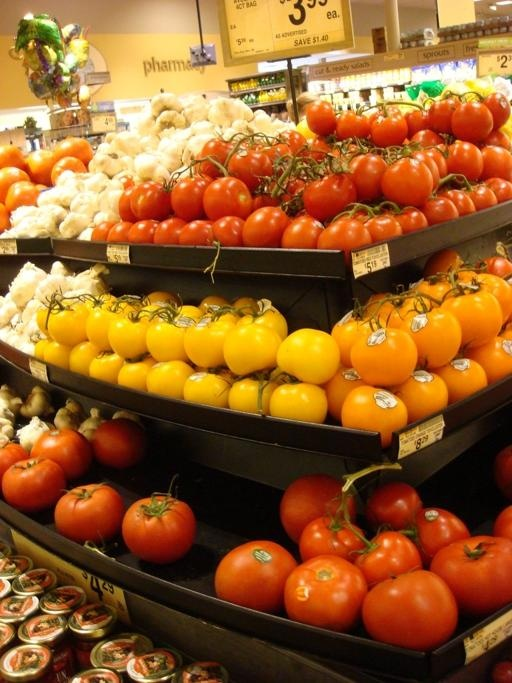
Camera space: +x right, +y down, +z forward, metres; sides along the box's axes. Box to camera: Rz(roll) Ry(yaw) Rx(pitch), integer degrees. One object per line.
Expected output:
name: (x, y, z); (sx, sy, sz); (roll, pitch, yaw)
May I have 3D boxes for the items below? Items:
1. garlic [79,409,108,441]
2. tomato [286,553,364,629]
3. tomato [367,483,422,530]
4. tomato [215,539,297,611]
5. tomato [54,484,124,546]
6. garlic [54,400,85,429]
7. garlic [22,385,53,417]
garlic: (-0.606, 0.301, 1.769); (0.095, 0.121, 0.092); (1, -8, 33)
tomato: (0.107, 0.384, 0.790); (0.107, 0.093, 0.103); (-3, 8, 5)
tomato: (0.281, 0.331, 0.998); (0.123, 0.089, 0.100); (5, 8, 12)
tomato: (0.002, 0.426, 0.872); (0.147, 0.099, 0.097); (-12, 19, -5)
tomato: (-0.431, 0.430, 1.238); (0.169, 0.131, 0.164); (0, 13, 0)
garlic: (-0.738, 0.290, 1.891); (0.048, 0.123, 0.099); (-30, -35, 34)
garlic: (-0.964, 0.258, 2.106); (0.109, 0.057, 0.135); (-52, 30, -10)
